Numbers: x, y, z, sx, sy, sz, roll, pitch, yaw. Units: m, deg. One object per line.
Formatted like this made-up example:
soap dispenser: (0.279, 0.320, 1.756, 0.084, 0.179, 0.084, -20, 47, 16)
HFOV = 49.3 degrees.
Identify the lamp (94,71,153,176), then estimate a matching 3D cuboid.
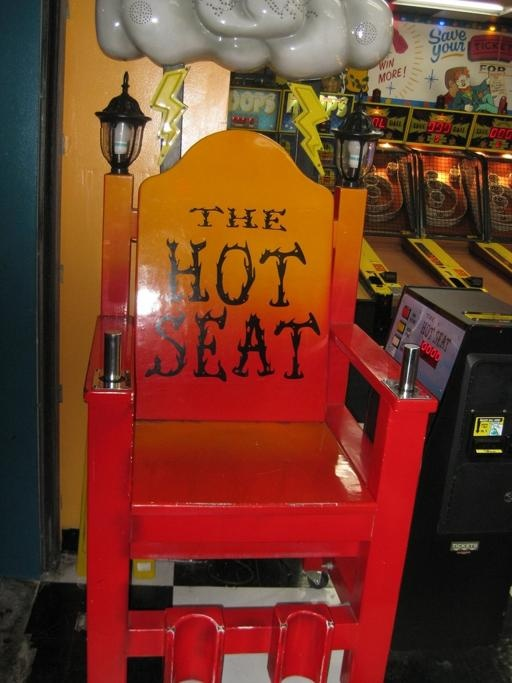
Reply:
lamp: (-0.290, -0.475, 1.211, 0.110, 0.200, 0.109, 2, 21, -18)
